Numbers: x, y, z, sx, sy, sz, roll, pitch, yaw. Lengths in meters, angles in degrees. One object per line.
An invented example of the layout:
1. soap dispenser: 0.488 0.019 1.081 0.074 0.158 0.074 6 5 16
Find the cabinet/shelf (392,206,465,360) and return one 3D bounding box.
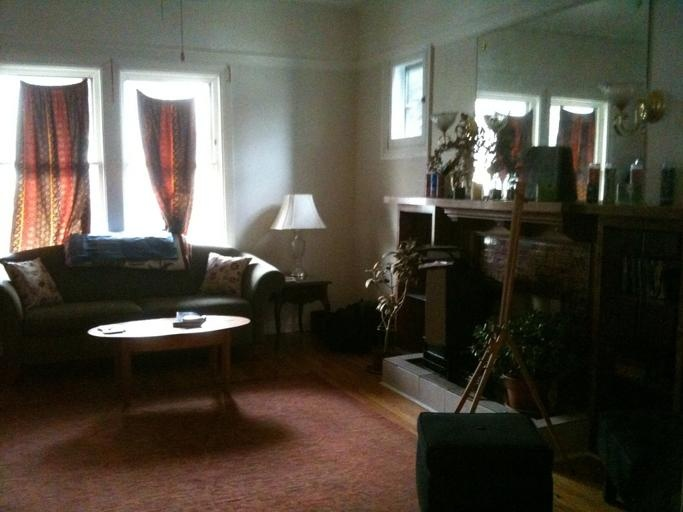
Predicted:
1. cabinet/shelf: 0.684 0.169 4.840 0.310 1.272 0.661 -9 13 -12

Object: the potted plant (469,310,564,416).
1. potted plant: 1.268 0.761 3.796 0.508 0.547 0.375 22 -14 -28

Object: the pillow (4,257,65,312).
1. pillow: -2.504 0.219 4.716 0.304 0.365 0.366 6 12 26

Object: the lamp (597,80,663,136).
1. lamp: 1.639 -0.826 3.321 0.351 0.287 0.224 6 -2 -10

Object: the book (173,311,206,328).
1. book: -1.109 0.458 4.195 0.156 0.047 0.119 4 5 41

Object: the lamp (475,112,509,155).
1. lamp: 1.084 -0.887 4.193 0.062 0.234 0.234 16 14 0

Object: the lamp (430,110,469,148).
1. lamp: 0.859 -1.024 4.618 0.293 0.352 0.288 -6 7 -15

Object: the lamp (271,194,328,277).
1. lamp: -0.438 -0.211 5.806 0.506 0.812 0.495 -1 11 -7

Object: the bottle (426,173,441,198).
1. bottle: 0.740 -0.565 4.614 0.111 0.182 0.072 2 11 9

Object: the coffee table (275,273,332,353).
1. coffee table: -0.508 0.492 5.755 0.733 0.603 0.685 -3 4 -15
